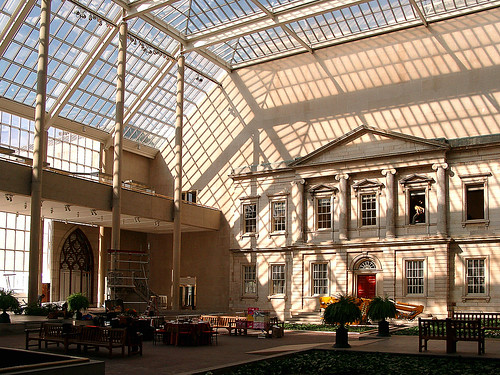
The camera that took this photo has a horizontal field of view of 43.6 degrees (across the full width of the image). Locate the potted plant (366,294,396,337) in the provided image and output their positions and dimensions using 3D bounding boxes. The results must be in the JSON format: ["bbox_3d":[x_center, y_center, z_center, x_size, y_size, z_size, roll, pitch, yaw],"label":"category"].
[{"bbox_3d":[5.818,5.851,28.521,1.782,1.904,1.721,2,-12,-13],"label":"potted plant"}]

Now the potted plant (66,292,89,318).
[{"bbox_3d":[-8.259,5.665,30.005,0.838,1.243,0.988,10,-19,-37],"label":"potted plant"}]
